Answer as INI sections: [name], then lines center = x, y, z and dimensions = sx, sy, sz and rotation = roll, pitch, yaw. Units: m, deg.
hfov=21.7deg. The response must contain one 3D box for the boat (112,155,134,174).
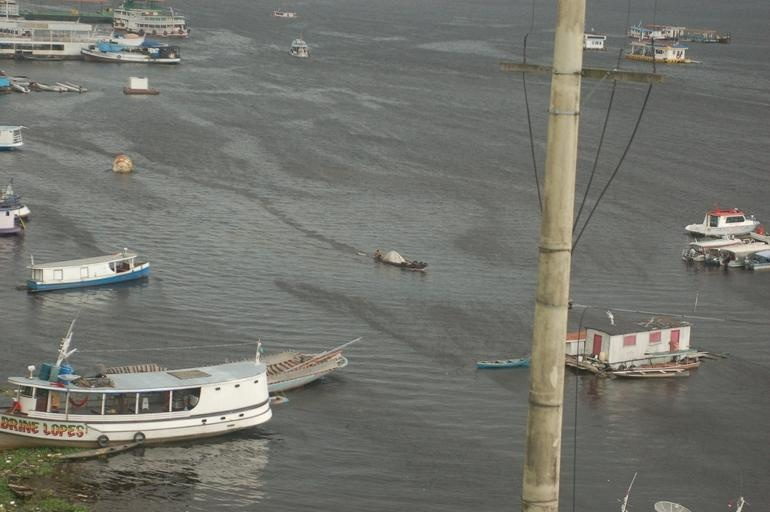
[boat]
center = -32.539, -11.015, 250.783
dimensions = 3.194, 1.942, 2.606
rotation = 2, 28, -1
